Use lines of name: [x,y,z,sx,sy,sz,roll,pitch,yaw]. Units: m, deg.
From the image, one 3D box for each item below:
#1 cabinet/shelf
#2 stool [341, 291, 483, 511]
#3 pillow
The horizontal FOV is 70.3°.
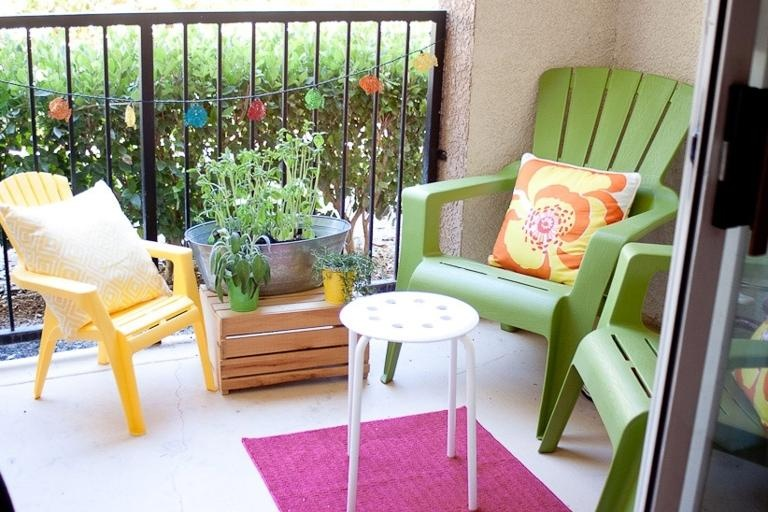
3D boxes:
cabinet/shelf: [-0.432,0.349,2.182,0.571,0.288,0.386,-6,21,-17]
stool: [0.088,0.514,1.863,0.466,0.644,0.483,-11,19,-34]
pillow: [-1.130,-0.023,2.092,0.443,0.422,0.408,9,21,20]
